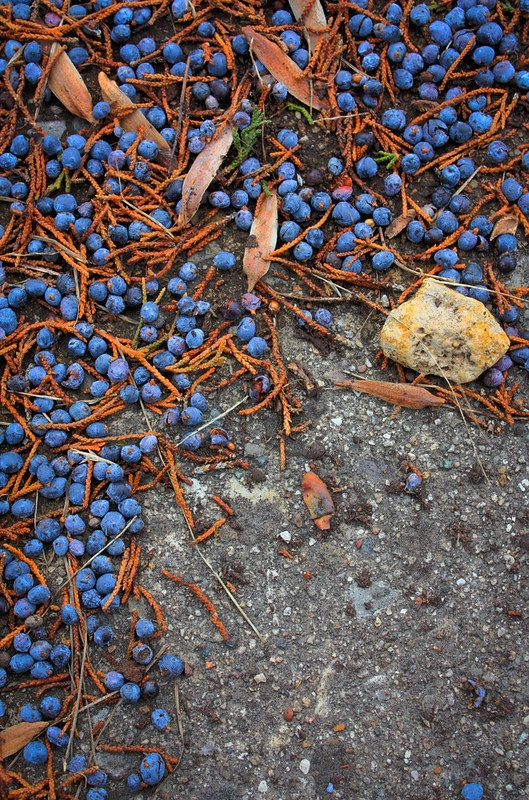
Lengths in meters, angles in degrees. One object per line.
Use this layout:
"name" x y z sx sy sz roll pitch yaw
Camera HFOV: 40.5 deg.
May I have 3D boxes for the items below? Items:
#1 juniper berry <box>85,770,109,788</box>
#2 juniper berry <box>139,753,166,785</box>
"juniper berry" -0.782 1.773 3.343 0.083 0.087 0.047 -41 25 10
"juniper berry" -0.522 1.702 3.299 0.108 0.111 0.143 1 85 0
